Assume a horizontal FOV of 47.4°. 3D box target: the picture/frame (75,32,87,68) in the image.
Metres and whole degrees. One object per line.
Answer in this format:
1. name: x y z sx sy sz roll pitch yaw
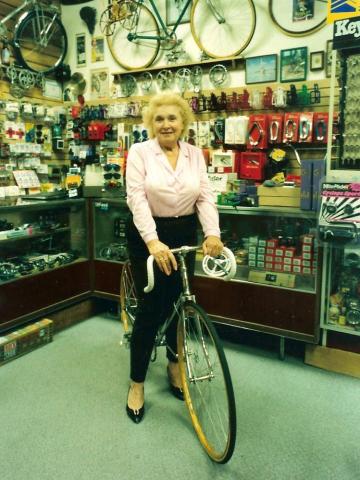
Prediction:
1. picture/frame: -1.038 -1.991 4.313 0.012 0.312 0.137 28 36 31

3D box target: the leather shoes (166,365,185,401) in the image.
1. leather shoes: -0.035 0.828 2.358 0.071 0.057 0.193 -2 14 -24

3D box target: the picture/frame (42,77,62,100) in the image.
1. picture/frame: -1.328 -1.581 4.304 0.076 0.172 0.264 8 11 25

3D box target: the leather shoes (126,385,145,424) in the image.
1. leather shoes: -0.231 0.831 2.109 0.071 0.080 0.206 -1 35 -6
